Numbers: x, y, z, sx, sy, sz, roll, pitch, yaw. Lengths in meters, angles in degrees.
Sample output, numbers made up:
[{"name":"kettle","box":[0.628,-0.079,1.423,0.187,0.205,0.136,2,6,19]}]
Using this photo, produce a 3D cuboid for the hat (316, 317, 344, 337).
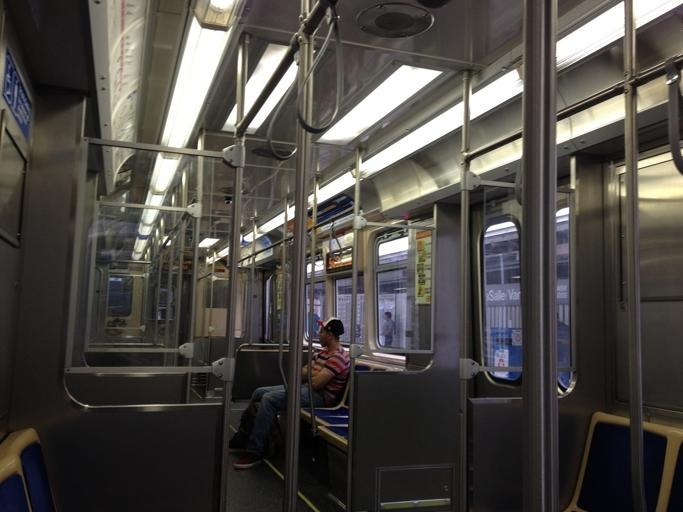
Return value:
[{"name":"hat","box":[-0.128,0.862,6.607,0.284,0.175,0.188,33,10,19]}]

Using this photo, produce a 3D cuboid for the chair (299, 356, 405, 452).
[{"name":"chair","box":[0.085,1.426,5.673,1.083,0.865,2.381,-1,-9,0]}]

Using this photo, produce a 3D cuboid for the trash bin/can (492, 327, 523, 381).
[{"name":"trash bin/can","box":[1.153,0.640,3.837,0.184,0.277,0.139,-2,-8,9]}]
